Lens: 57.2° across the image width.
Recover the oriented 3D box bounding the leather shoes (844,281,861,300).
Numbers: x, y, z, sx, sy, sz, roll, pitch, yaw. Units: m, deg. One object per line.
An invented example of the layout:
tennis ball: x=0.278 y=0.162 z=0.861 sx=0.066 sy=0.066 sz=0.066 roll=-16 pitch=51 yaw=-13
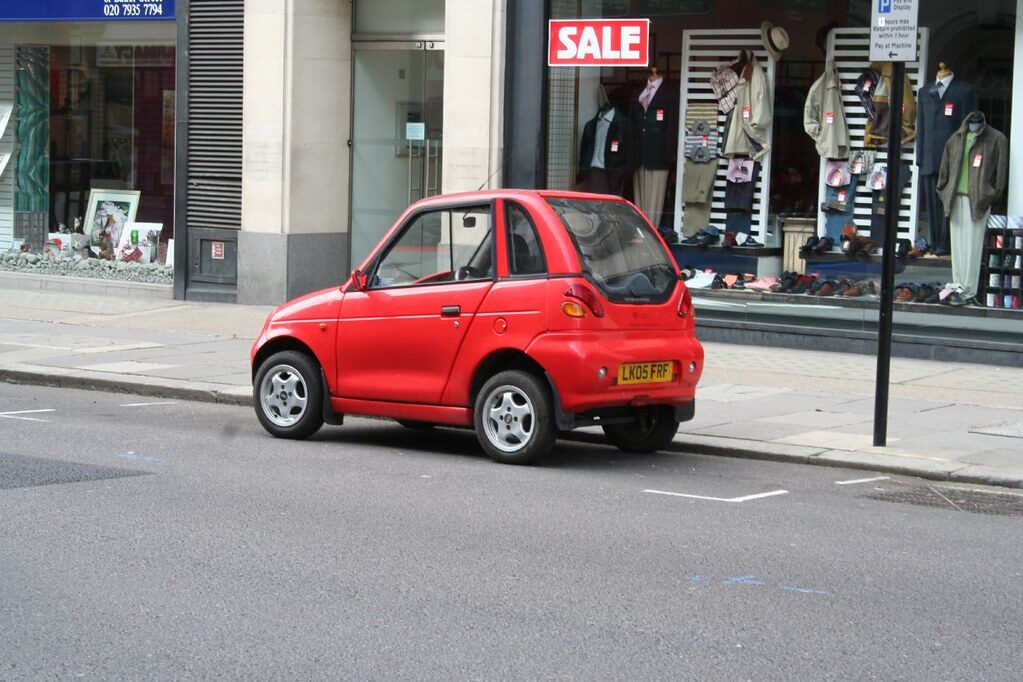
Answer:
leather shoes: x=5.506 y=-0.843 z=15.142 sx=0.319 sy=0.217 sz=0.185 roll=-3 pitch=7 yaw=-35

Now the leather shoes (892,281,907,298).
leather shoes: x=5.805 y=-0.769 z=14.038 sx=0.230 sy=0.352 sz=0.124 roll=1 pitch=-38 yaw=22

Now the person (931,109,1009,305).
person: x=7.347 y=-2.263 z=14.998 sx=1.004 sy=2.756 sz=0.553 roll=4 pitch=6 yaw=28

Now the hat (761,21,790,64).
hat: x=4.567 y=-5.270 z=16.497 sx=0.557 sy=0.581 sz=0.158 roll=-31 pitch=12 yaw=-26

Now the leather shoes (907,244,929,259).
leather shoes: x=6.627 y=-1.441 z=15.274 sx=0.293 sy=0.136 sz=0.144 roll=-1 pitch=6 yaw=-11

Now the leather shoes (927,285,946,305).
leather shoes: x=6.632 y=-0.723 z=14.555 sx=0.411 sy=0.225 sz=0.260 roll=-2 pitch=7 yaw=-26

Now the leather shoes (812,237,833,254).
leather shoes: x=5.311 y=-1.621 z=15.965 sx=0.338 sy=0.240 sz=0.182 roll=2 pitch=6 yaw=13
